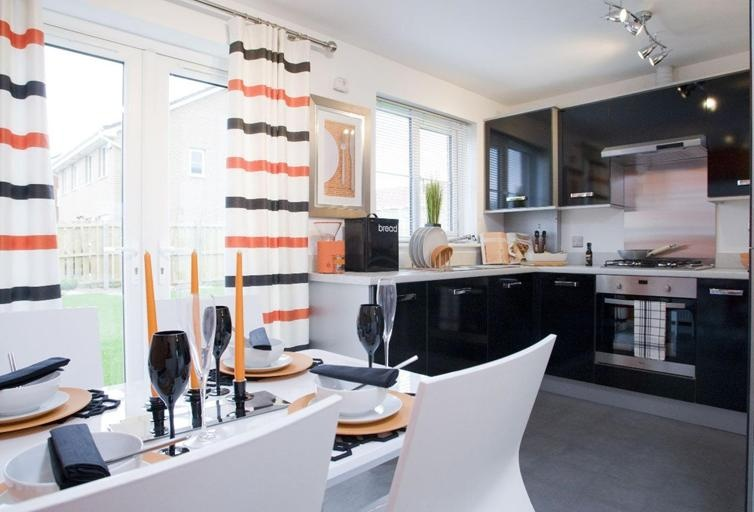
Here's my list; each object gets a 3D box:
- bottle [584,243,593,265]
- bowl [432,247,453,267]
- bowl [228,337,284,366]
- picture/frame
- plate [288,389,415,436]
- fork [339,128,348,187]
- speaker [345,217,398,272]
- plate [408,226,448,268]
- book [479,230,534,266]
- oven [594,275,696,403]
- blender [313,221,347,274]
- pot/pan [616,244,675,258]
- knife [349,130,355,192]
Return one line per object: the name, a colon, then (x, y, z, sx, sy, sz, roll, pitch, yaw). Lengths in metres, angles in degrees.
bottle: (1.991, -0.020, 4.876, 0.072, 0.205, 0.125, 4, 10, 22)
bowl: (0.516, 0.004, 4.041, 0.205, 0.163, 0.070, -8, 12, -42)
bowl: (-0.463, 0.406, 2.091, 0.152, 0.070, 0.152, 0, 3, 0)
picture/frame: (-0.276, -0.738, 3.925, 0.153, 0.877, 0.588, 9, 13, 43)
plate: (-0.050, 0.558, 1.785, 0.241, 0.034, 0.241, 0, 2, 37)
fork: (-0.257, -0.739, 3.944, 0.054, 0.390, 0.044, 0, 3, -16)
speaker: (-0.039, -0.083, 3.714, 0.381, 0.385, 0.234, -1, 9, -4)
plate: (0.404, -0.062, 4.067, 0.106, 0.287, 0.294, 7, 19, 42)
book: (1.235, -0.073, 4.928, 0.505, 0.286, 0.378, 0, 9, 1)
oven: (2.190, 0.556, 4.075, 0.671, 0.934, 0.716, -12, 11, -39)
blender: (-0.345, -0.059, 3.776, 0.220, 0.338, 0.427, -1, 9, -5)
pot/pan: (2.268, -0.030, 4.395, 0.295, 0.093, 0.180, 1, 3, 35)
knife: (-0.196, -0.736, 3.993, 0.038, 0.412, 0.048, 1, 3, -7)
